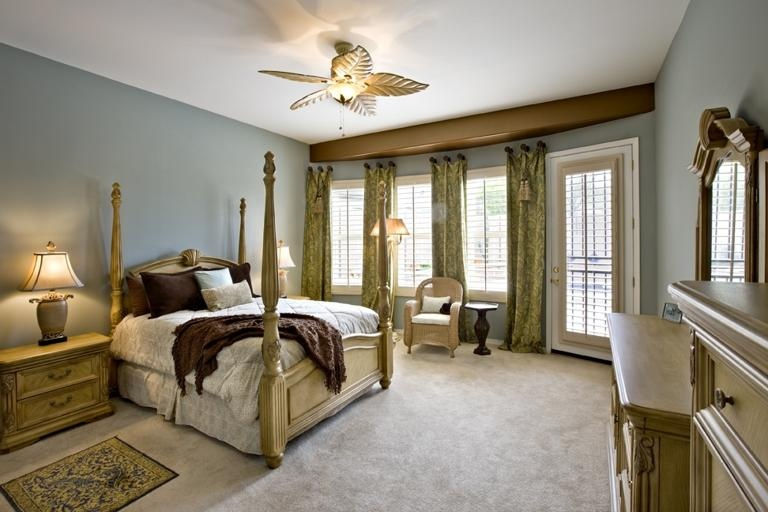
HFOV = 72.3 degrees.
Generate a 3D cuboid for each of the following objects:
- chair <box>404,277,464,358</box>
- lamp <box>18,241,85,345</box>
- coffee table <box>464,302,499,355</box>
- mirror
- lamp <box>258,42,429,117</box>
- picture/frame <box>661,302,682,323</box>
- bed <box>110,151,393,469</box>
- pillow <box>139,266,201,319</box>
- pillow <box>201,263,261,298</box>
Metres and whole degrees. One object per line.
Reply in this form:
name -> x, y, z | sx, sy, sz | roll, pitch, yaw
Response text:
chair -> 0.695, 0.796, 7.127 | 0.712, 0.977, 0.707 | 1, 3, 17
lamp -> -3.302, 0.360, 5.219 | 0.500, 0.999, 0.442 | -5, 5, -36
coffee table -> 1.291, 0.968, 6.889 | 0.476, 0.608, 0.485 | -1, -1, 23
mirror -> 2.585, -0.461, 4.009 | 0.254, 1.308, 0.681 | -3, 4, -1
lamp -> -0.359, -1.789, 5.113 | 1.087, 0.597, 1.142 | -5, 4, -34
picture/frame -> 2.395, 0.481, 4.368 | 0.018, 0.197, 0.237 | 16, -12, -20
bed -> -1.410, 0.479, 5.953 | 2.865, 2.291, 2.793 | 4, 5, 44
pillow -> -2.296, 0.366, 5.659 | 0.189, 0.456, 0.642 | -30, -15, 37
pillow -> -1.830, 0.289, 6.579 | 0.146, 0.465, 0.494 | -13, -3, 19
